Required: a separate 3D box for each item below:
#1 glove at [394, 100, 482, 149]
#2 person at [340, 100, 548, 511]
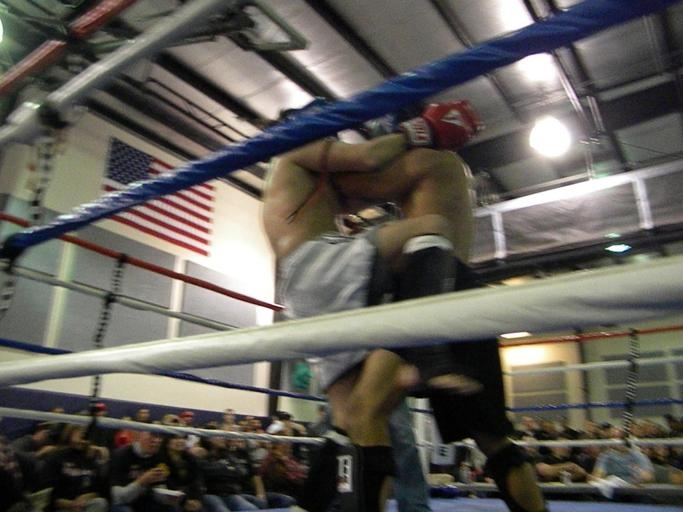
[{"bbox_3d":[0.344,-0.450,1.803,0.316,0.098,0.195,-7,18,-1],"label":"glove"},{"bbox_3d":[0.290,0.094,1.714,0.523,1.408,0.500,-5,-29,16],"label":"person"}]
